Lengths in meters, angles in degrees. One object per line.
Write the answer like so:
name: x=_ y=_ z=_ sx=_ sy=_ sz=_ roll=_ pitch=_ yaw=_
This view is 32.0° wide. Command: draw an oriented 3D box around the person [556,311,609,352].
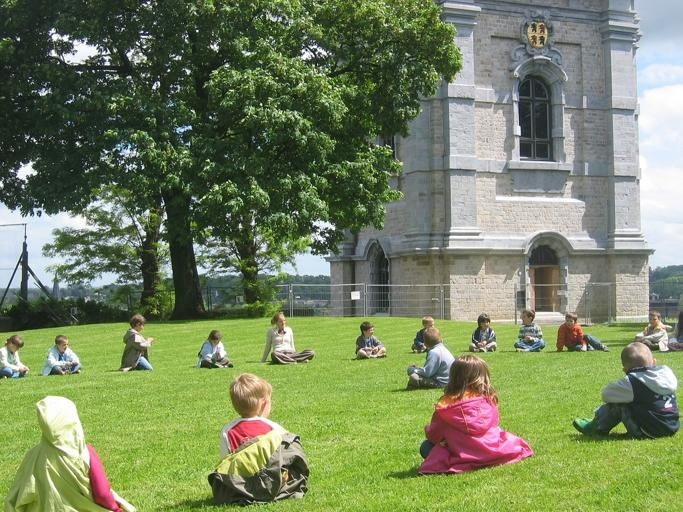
person: x=7.499 y=2.411 z=37.244 sx=1.600 sy=1.203 sz=0.928 roll=-3 pitch=4 yaw=37

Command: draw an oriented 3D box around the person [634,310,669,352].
person: x=9.662 y=2.309 z=36.946 sx=0.965 sy=1.209 sz=1.055 roll=4 pitch=1 yaw=-12

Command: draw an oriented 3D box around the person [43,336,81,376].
person: x=-8.450 y=3.039 z=35.977 sx=1.014 sy=1.284 sz=1.118 roll=2 pitch=2 yaw=-10

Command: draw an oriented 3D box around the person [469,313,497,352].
person: x=4.534 y=2.459 z=37.949 sx=0.753 sy=1.295 sz=1.157 roll=4 pitch=4 yaw=17

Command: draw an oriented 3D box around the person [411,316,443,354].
person: x=2.651 y=2.490 z=37.266 sx=1.052 sy=1.289 sz=0.745 roll=-4 pitch=3 yaw=-35

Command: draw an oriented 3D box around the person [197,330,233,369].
person: x=-3.845 y=2.857 z=36.239 sx=1.095 sy=1.142 sz=1.157 roll=4 pitch=7 yaw=12

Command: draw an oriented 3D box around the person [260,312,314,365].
person: x=-1.749 y=2.531 z=36.852 sx=1.238 sy=1.551 sz=1.073 roll=-1 pitch=-2 yaw=44

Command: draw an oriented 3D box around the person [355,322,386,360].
person: x=0.890 y=2.683 z=37.096 sx=1.019 sy=1.255 sz=0.871 roll=3 pitch=9 yaw=27

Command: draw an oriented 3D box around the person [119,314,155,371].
person: x=-6.225 y=2.670 z=36.413 sx=1.049 sy=1.706 sz=1.083 roll=2 pitch=-1 yaw=-15

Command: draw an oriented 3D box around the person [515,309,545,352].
person: x=5.953 y=2.360 z=37.945 sx=0.915 sy=1.324 sz=0.904 roll=-4 pitch=5 yaw=-24
